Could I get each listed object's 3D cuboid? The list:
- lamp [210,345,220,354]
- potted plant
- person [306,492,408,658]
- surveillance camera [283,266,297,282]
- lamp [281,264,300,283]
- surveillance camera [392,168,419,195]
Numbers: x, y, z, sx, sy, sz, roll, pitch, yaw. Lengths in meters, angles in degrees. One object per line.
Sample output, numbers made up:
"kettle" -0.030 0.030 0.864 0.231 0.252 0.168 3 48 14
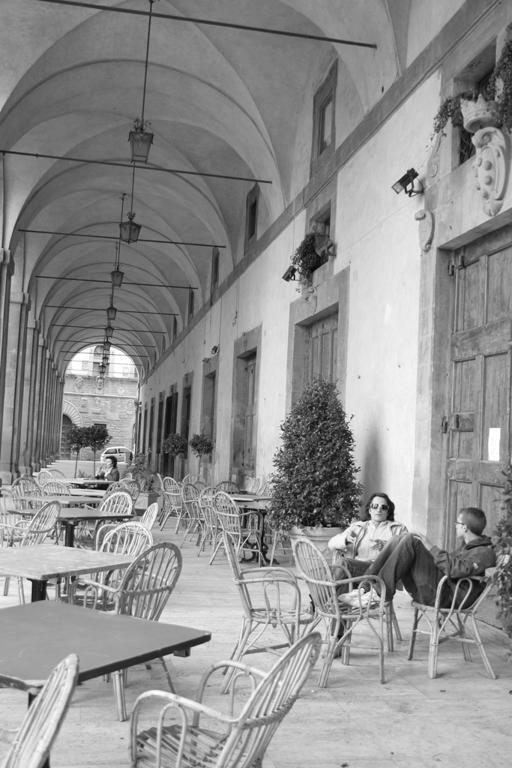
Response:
"lamp" -0.948 -0.773 16.151 0.123 0.259 0.249 2 36 12
"potted plant" 0.666 0.684 6.706 0.978 2.141 1.047 1 -6 -8
"person" 0.676 1.131 4.474 0.483 1.001 0.392 27 -31 -26
"surveillance camera" 0.462 -1.527 9.742 0.158 0.174 0.431 0 -8 2
"lamp" 0.474 -1.514 9.703 0.198 0.223 0.231 40 19 6
"surveillance camera" 1.326 -1.787 6.276 0.095 0.232 0.229 33 12 -25
